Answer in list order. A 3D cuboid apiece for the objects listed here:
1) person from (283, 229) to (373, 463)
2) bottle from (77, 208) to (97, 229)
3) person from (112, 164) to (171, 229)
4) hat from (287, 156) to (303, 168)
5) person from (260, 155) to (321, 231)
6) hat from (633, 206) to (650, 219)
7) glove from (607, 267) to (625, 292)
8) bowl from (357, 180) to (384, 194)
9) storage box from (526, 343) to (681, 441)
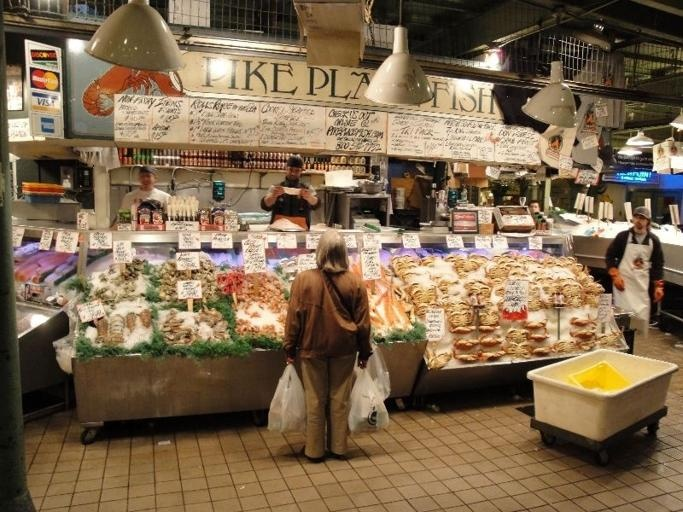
[{"bbox_3d":[-0.114,0.780,4.440,0.743,1.917,0.383,0,10,-7],"label":"person"},{"bbox_3d":[-2.526,-0.366,5.133,0.173,0.254,0.179,5,7,-1],"label":"bottle"},{"bbox_3d":[-2.429,-0.672,6.498,0.975,0.846,0.307,0,-3,-7],"label":"person"},{"bbox_3d":[-0.566,-1.162,6.358,0.160,0.131,0.166,1,6,-27],"label":"hat"},{"bbox_3d":[-0.616,-0.596,6.632,0.604,1.349,0.724,11,34,12],"label":"person"},{"bbox_3d":[4.149,-0.608,7.166,0.154,0.126,0.228,13,-6,43],"label":"hat"},{"bbox_3d":[3.849,0.333,7.331,0.199,0.335,0.092,-1,-10,-39],"label":"glove"},{"bbox_3d":[0.350,-0.816,6.164,0.305,0.155,0.270,2,11,1],"label":"bowl"},{"bbox_3d":[2.378,1.267,4.833,1.269,0.485,0.651,-5,13,-31],"label":"storage box"}]
